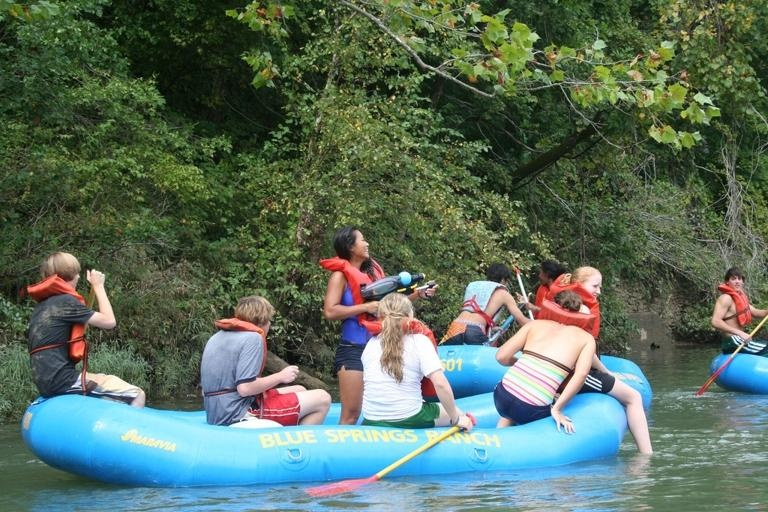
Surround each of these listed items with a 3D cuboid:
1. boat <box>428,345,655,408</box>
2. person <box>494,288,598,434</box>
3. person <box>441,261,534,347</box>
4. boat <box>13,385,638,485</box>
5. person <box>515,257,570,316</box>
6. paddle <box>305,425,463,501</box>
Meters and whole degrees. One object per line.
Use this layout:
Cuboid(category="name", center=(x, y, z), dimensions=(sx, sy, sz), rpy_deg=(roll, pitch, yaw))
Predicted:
Cuboid(category="boat", center=(1.642, 1.572, 12.220), dimensions=(1.548, 0.444, 1.324), rpy_deg=(9, 2, 37))
Cuboid(category="person", center=(1.891, 1.256, 10.287), dimensions=(0.756, 1.431, 0.844), rpy_deg=(26, 40, 10))
Cuboid(category="person", center=(1.542, 0.737, 14.035), dimensions=(0.723, 1.497, 0.985), rpy_deg=(37, 10, 36))
Cuboid(category="boat", center=(-0.843, 2.103, 9.857), dimensions=(4.371, 0.782, 2.303), rpy_deg=(1, -6, -8))
Cuboid(category="person", center=(2.404, 0.480, 13.800), dimensions=(0.467, 1.153, 0.404), rpy_deg=(9, 46, 7))
Cuboid(category="paddle", center=(-0.046, 2.232, 9.534), dimensions=(1.411, 0.079, 0.246), rpy_deg=(-18, 36, -28))
